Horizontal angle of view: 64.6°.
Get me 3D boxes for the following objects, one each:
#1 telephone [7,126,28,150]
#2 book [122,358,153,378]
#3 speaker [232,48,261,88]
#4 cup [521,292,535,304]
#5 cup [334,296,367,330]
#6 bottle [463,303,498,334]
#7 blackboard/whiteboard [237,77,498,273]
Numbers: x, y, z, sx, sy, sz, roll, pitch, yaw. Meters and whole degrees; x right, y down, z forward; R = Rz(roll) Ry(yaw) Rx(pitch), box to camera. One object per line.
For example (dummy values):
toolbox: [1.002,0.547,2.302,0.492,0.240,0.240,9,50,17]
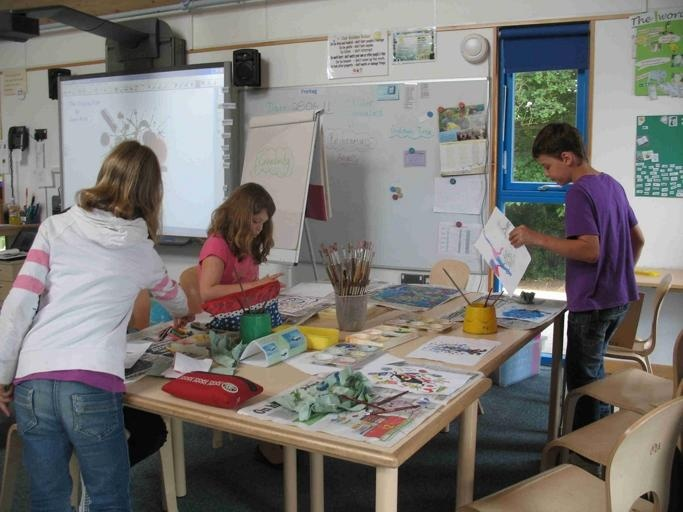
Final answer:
telephone: [-3.169,-1.153,5.296,0.241,0.201,0.084,5,6,31]
book: [-0.636,0.353,1.709,0.045,0.014,0.055,6,18,16]
speaker: [-0.745,-1.498,4.373,0.227,0.269,0.165,0,1,24]
cup: [0.892,0.199,2.587,0.055,0.055,0.060,7,-3,0]
cup: [0.037,0.220,2.119,0.145,0.139,0.135,-1,-2,0]
bottle: [0.555,0.248,2.158,0.127,0.086,0.119,1,-3,0]
blackboard/whiteboard: [0.245,-0.660,4.305,0.057,1.448,2.218,-20,23,-41]
